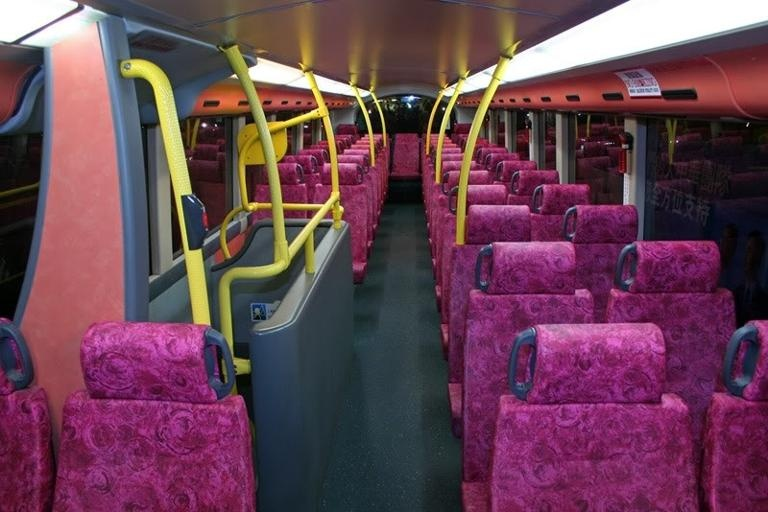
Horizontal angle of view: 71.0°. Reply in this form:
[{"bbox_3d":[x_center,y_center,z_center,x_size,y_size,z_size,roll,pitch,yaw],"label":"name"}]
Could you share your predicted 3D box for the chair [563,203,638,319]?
[{"bbox_3d":[1.606,-0.035,4.150,0.544,0.978,0.631,6,33,21],"label":"chair"}]
